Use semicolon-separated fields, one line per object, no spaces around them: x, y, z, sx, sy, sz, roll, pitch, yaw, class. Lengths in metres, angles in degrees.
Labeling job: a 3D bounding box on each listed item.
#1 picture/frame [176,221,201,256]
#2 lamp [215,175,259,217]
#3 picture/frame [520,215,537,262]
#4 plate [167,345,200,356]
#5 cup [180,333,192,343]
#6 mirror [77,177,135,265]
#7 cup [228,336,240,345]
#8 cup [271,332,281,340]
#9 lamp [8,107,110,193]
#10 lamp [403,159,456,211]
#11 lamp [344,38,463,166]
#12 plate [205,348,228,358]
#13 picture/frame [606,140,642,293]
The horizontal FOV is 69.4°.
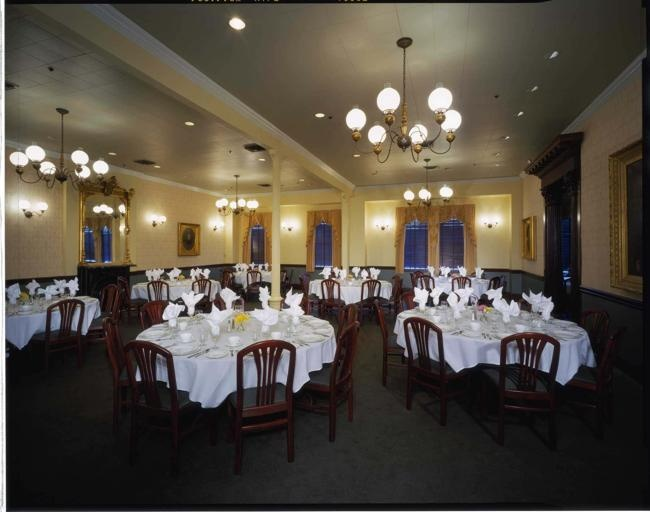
-3.852;-0.465;13.280;1.022;0.924;0.069;5;5;40;picture/frame
-2.268;-1.542;11.929;1.045;1.031;1.019;-2;5;-41;lamp
4.838;-0.408;11.117;0.194;1.023;1.094;0;0;17;picture/frame
-1.450;0.965;4.836;0.309;0.067;0.294;0;0;-14;plate
-1.487;0.889;5.043;0.083;0.064;0.088;1;1;0;cup
-4.868;-0.763;10.297;0.194;2.421;1.843;-1;-2;21;mirror
-0.972;0.902;5.008;0.121;0.091;0.226;0;0;-11;cup
-0.527;0.870;5.140;0.074;0.062;0.080;1;-1;0;cup
-4.360;-1.521;7.808;1.677;1.382;1.426;2;-8;-26;lamp
2.326;-1.644;10.700;0.929;1.055;0.961;1;5;3;lamp
0.952;-1.974;5.779;1.359;1.509;1.416;-2;-6;8;lamp
-1.099;0.988;4.750;0.226;0.059;0.226;0;0;-10;plate
3.910;-0.484;6.092;0.191;1.870;0.651;0;0;8;picture/frame
